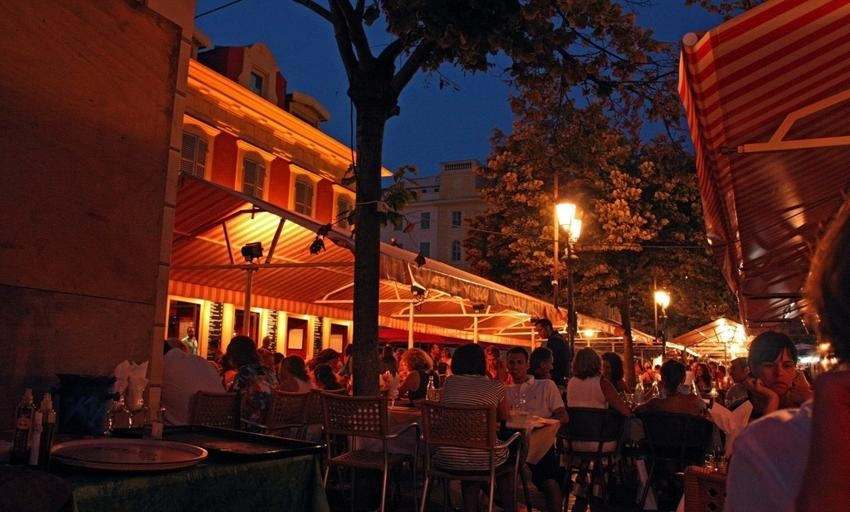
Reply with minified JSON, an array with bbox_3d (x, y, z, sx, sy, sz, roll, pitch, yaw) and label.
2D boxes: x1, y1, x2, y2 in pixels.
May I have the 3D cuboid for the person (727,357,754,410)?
[{"bbox_3d":[4.884,1.974,12.035,0.392,0.741,0.828,7,-10,16],"label":"person"}]

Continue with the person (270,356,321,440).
[{"bbox_3d":[-1.861,1.901,10.972,0.630,0.874,0.636,-2,7,-11],"label":"person"}]

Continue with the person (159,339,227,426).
[{"bbox_3d":[-2.763,1.555,9.170,0.688,0.861,0.372,13,-21,-27],"label":"person"}]

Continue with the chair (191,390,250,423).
[{"bbox_3d":[-2.478,1.829,9.251,0.467,0.676,0.407,-3,-9,40],"label":"chair"}]

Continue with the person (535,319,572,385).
[{"bbox_3d":[2.138,1.858,13.204,0.545,1.528,0.571,-1,-3,-1],"label":"person"}]

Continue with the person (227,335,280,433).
[{"bbox_3d":[-2.343,1.784,10.542,0.545,1.437,0.577,-15,-33,21],"label":"person"}]

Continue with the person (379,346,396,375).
[{"bbox_3d":[-0.652,1.886,13.799,0.294,0.630,0.765,4,-19,-3],"label":"person"}]

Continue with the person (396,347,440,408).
[{"bbox_3d":[-0.112,2.219,12.662,0.698,1.458,0.685,1,6,-2],"label":"person"}]
